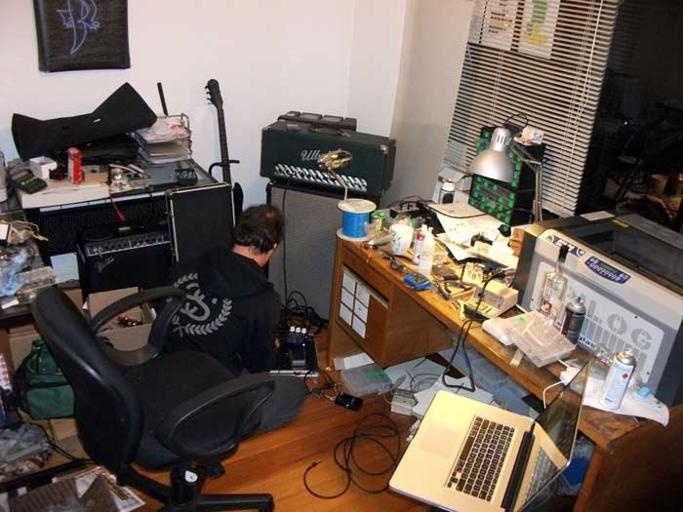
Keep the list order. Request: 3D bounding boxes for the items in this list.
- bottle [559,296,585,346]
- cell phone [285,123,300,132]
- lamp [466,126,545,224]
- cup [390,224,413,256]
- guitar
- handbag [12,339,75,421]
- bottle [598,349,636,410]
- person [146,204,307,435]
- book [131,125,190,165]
[{"bbox_3d":[0.970,0.277,2.265,0.081,0.304,0.073,-6,43,5],"label":"bottle"},{"bbox_3d":[-0.292,-0.784,3.253,0.067,0.018,0.065,0,36,-9],"label":"cell phone"},{"bbox_3d":[0.837,-0.458,2.885,0.389,0.465,0.392,-2,26,-15],"label":"lamp"},{"bbox_3d":[0.284,-0.100,2.832,0.146,0.167,0.146,1,20,0],"label":"cup"},{"bbox_3d":[-0.796,-0.614,3.602,0.115,1.069,0.303,6,15,37],"label":"guitar"},{"bbox_3d":[-1.358,0.607,2.665,0.348,0.329,0.247,6,27,-3],"label":"handbag"},{"bbox_3d":[1.032,0.446,2.005,0.075,0.215,0.158,20,33,32],"label":"bottle"},{"bbox_3d":[-0.491,0.279,2.782,0.588,1.267,0.730,28,47,13],"label":"person"},{"bbox_3d":[-1.101,-0.706,3.355,0.323,0.205,0.237,-9,29,-20],"label":"book"}]
